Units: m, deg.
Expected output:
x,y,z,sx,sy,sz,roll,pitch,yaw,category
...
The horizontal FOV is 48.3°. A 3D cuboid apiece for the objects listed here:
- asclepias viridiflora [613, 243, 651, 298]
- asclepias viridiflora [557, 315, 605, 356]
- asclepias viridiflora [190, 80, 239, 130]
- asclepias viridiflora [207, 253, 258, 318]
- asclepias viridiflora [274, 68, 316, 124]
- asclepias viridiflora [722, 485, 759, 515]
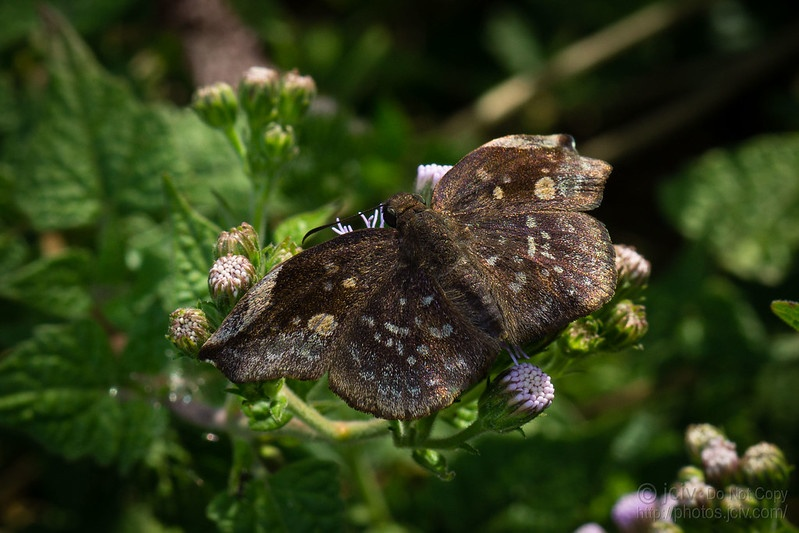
x,y,z,sx,sy,sz,roll,pitch,yaw,category
0.902,0.027,3.489,0.143,0.207,0.153,11,2,12,asclepias viridiflora
0.689,0.265,3.411,0.150,0.151,0.065,-3,-34,-1,asclepias viridiflora
-0.714,-0.644,3.616,0.153,0.181,0.180,-30,6,13,asclepias viridiflora
-0.590,0.048,3.321,0.181,0.224,0.197,-16,18,17,asclepias viridiflora
-0.413,-0.671,3.546,0.185,0.266,0.183,8,12,-10,asclepias viridiflora
1.313,0.913,3.433,0.129,0.121,0.050,12,3,23,asclepias viridiflora
